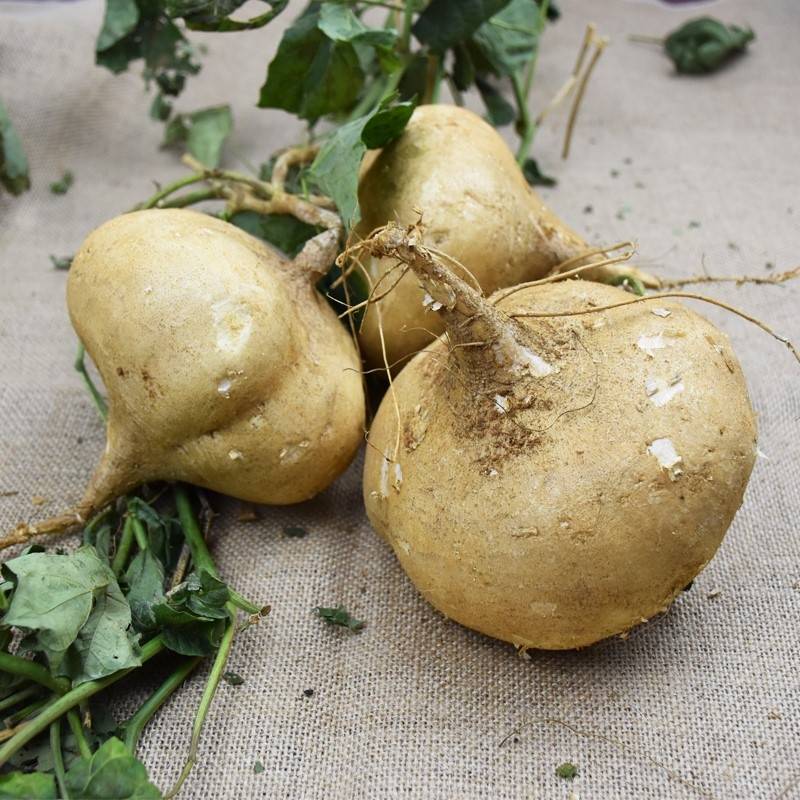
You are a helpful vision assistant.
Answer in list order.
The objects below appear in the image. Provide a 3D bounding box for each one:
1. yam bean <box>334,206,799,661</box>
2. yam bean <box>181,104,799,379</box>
[{"bbox_3d":[0.174,0.058,1.156,0.452,0.448,0.399,42,21,-26],"label":"yam bean"},{"bbox_3d":[0.086,-0.225,1.374,0.831,0.241,0.338,-3,16,6],"label":"yam bean"}]
